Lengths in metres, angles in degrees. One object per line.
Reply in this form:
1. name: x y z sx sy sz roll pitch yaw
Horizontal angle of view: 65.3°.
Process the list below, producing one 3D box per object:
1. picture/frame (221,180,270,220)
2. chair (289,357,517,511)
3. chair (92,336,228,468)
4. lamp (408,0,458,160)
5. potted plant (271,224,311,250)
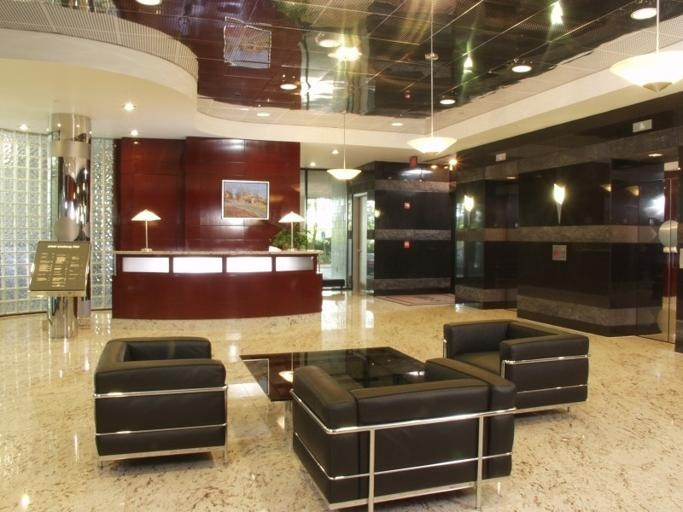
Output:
1. picture/frame: -2.324 -1.352 12.555 1.070 0.806 0.043 0 8 -17
2. chair: 0.515 1.476 4.317 1.518 0.857 1.250 0 3 -14
3. chair: -1.698 1.329 5.237 1.289 0.934 1.264 -1 5 -19
4. lamp: 1.612 -3.123 9.344 0.740 2.481 0.697 -2 28 1
5. potted plant: -1.129 -0.432 12.223 0.673 0.512 0.656 1 4 10
